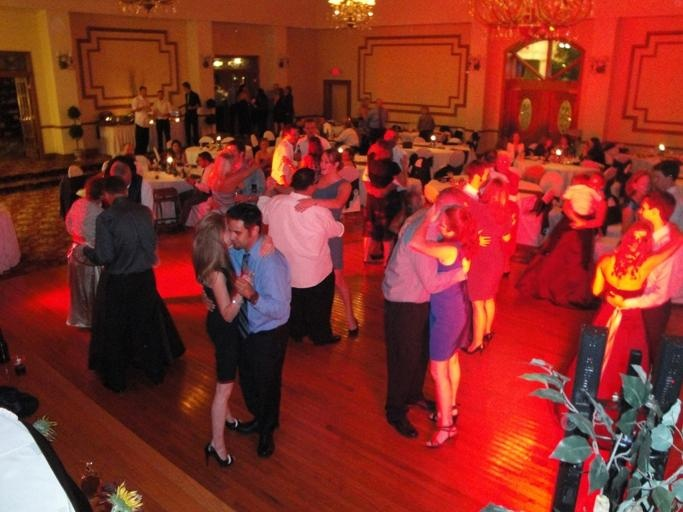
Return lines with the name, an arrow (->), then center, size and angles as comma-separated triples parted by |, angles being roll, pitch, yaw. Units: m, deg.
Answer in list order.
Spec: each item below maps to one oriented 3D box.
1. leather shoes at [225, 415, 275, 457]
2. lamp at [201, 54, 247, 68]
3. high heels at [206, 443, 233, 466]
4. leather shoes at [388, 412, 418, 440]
leather shoes -> -0.609, 1.234, 3.281 | 0.345, 0.166, 0.117 | 30, 40, 14
lamp -> -3.493, -6.051, 14.415 | 0.808, 0.458, 2.405 | 2, 20, 5
high heels -> -0.779, 1.294, 3.155 | 0.183, 0.102, 0.103 | 34, 6, -2
leather shoes -> 0.424, 1.166, 3.428 | 0.235, 0.182, 0.094 | 6, 25, 38
